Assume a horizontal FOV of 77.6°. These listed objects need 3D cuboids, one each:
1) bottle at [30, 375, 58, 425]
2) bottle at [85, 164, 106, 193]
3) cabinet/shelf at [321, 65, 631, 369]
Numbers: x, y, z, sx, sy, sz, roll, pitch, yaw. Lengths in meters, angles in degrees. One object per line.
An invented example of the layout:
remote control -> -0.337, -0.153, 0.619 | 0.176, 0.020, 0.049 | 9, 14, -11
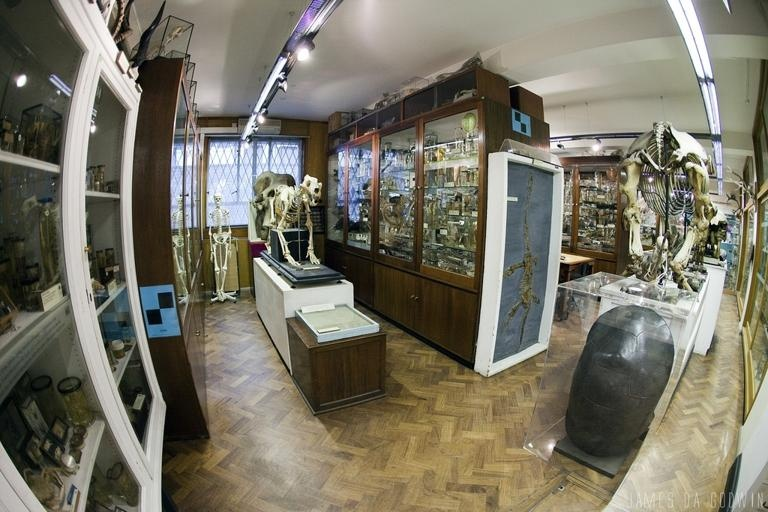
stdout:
bottle -> -1.986, 0.832, 2.793 | 0.112, 0.285, 0.058 | -9, 11, -37
bottle -> -1.916, -0.517, 3.168 | 0.069, 0.202, 0.210 | -2, 3, -15
cabinet/shelf -> 0.417, -0.659, 6.991 | 1.513, 3.225, 4.006 | -8, 10, -35
